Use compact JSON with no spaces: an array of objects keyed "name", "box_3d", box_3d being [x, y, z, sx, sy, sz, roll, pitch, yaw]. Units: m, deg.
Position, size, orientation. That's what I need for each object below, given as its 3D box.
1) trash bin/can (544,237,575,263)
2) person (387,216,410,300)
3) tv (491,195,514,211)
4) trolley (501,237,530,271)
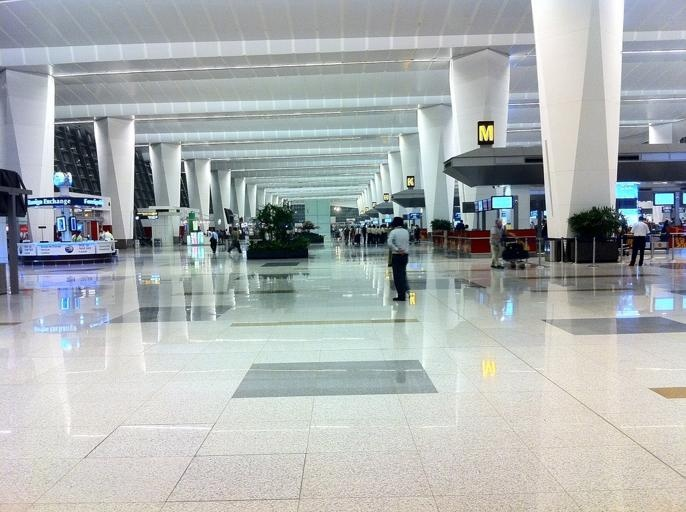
[{"name":"trash bin/can","box_3d":[8.361,-0.263,18.863,0.806,1.006,1.073,1,1,11]},{"name":"person","box_3d":[1.268,0.024,11.044,0.458,1.843,1.584,-3,3,7]},{"name":"tv","box_3d":[7.506,-2.598,23.153,0.945,0.543,0.542,-2,3,9]},{"name":"trolley","box_3d":[6.330,-0.096,18.220,1.143,1.487,1.226,0,-3,4]}]
